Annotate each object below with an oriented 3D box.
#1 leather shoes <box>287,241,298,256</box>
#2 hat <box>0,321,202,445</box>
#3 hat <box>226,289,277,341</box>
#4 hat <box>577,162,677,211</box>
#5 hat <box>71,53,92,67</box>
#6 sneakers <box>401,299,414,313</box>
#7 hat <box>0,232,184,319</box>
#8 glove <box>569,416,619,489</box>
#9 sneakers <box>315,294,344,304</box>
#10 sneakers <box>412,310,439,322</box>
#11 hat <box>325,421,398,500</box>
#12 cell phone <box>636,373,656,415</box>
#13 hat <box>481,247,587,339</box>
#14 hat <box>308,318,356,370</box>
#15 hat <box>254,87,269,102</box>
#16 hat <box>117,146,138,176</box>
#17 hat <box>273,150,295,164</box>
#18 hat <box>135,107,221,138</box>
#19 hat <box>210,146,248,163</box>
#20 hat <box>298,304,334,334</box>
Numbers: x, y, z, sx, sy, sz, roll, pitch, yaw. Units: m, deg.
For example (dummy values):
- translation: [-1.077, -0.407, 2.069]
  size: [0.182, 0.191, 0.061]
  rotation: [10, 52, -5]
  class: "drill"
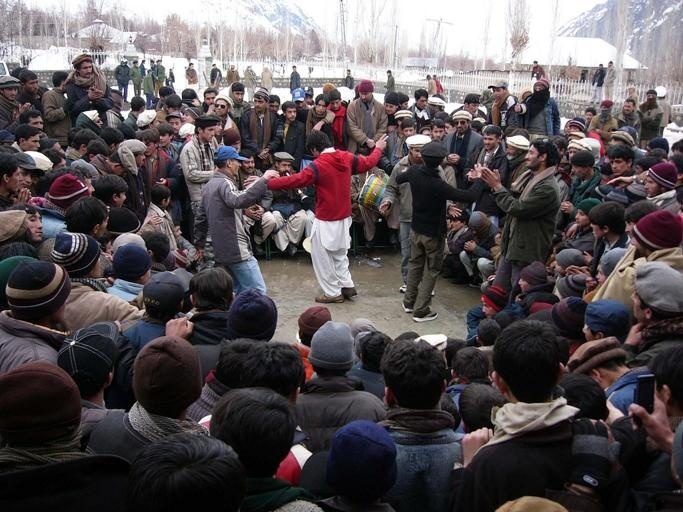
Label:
- translation: [-0.818, -0.116, 9.088]
  size: [0.124, 0.249, 0.105]
  rotation: [-4, 10, 6]
  class: "leather shoes"
- translation: [-1.236, 0.625, 2.906]
  size: [0.881, 0.467, 0.519]
  rotation: [-3, 23, -23]
  class: "hat"
- translation: [-0.605, 0.396, 3.787]
  size: [0.273, 0.345, 0.355]
  rotation: [10, 47, 1]
  class: "hat"
- translation: [3.423, -0.797, 6.137]
  size: [0.555, 0.520, 1.301]
  rotation: [3, 14, -2]
  class: "hat"
- translation: [-4.221, -3.168, 8.816]
  size: [0.259, 0.107, 0.241]
  rotation: [-11, 17, 19]
  class: "hat"
- translation: [0.886, 0.669, 7.251]
  size: [0.131, 0.137, 0.320]
  rotation: [0, -8, 2]
  class: "sneakers"
- translation: [-1.820, 0.176, 3.830]
  size: [0.674, 0.332, 0.933]
  rotation: [1, 12, 3]
  class: "hat"
- translation: [1.138, 0.886, 2.464]
  size: [0.205, 0.107, 0.275]
  rotation: [9, 54, 16]
  class: "glove"
- translation: [-0.175, 0.599, 7.505]
  size: [0.346, 0.152, 0.144]
  rotation: [3, 12, 4]
  class: "sneakers"
- translation: [1.092, 0.789, 7.105]
  size: [0.327, 0.142, 0.128]
  rotation: [-8, 13, -15]
  class: "sneakers"
- translation: [0.105, 0.903, 2.597]
  size: [0.258, 0.289, 0.368]
  rotation: [18, 26, 1]
  class: "hat"
- translation: [1.432, 0.627, 2.558]
  size: [0.086, 0.167, 0.178]
  rotation: [11, 15, 30]
  class: "cell phone"
- translation: [1.840, 0.345, 5.248]
  size: [0.598, 0.414, 0.834]
  rotation: [-2, 18, -8]
  class: "hat"
- translation: [-0.056, 0.558, 3.482]
  size: [0.279, 0.300, 0.307]
  rotation: [6, -2, 5]
  class: "hat"
- translation: [-1.380, -2.847, 9.426]
  size: [0.224, 0.298, 0.241]
  rotation: [6, -4, -8]
  class: "hat"
- translation: [-2.595, -1.156, 6.612]
  size: [0.222, 0.331, 0.145]
  rotation: [-3, 14, -23]
  class: "hat"
- translation: [-0.943, -1.624, 8.967]
  size: [0.307, 0.115, 0.375]
  rotation: [2, 15, -14]
  class: "hat"
- translation: [-2.782, -2.312, 9.387]
  size: [1.034, 0.398, 1.225]
  rotation: [-1, 1, 42]
  class: "hat"
- translation: [-1.323, -1.216, 6.610]
  size: [0.272, 0.158, 0.427]
  rotation: [9, 11, 34]
  class: "hat"
- translation: [-0.193, 0.508, 4.282]
  size: [0.253, 0.158, 0.183]
  rotation: [-7, 39, -18]
  class: "hat"
